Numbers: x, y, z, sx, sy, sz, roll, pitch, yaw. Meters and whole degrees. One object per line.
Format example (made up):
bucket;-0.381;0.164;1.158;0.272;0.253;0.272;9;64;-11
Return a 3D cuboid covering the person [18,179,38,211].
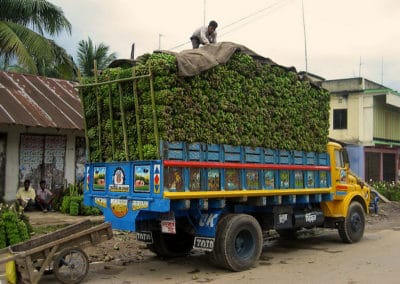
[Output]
person;-6.373;1.938;16.307;0.558;1.130;0.925;-1;-3;2

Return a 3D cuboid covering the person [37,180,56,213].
person;-5.857;2.018;16.862;0.607;1.122;0.319;0;-3;-22

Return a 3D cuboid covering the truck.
truck;1.221;1.457;12.800;7.391;2.761;3.356;0;-3;-40

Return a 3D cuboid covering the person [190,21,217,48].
person;0.100;-3.274;13.826;0.785;0.796;0.693;-1;-3;-2

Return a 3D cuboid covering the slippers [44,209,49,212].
slippers;-5.770;2.561;16.702;0.167;0.098;0.252;0;-4;-19
